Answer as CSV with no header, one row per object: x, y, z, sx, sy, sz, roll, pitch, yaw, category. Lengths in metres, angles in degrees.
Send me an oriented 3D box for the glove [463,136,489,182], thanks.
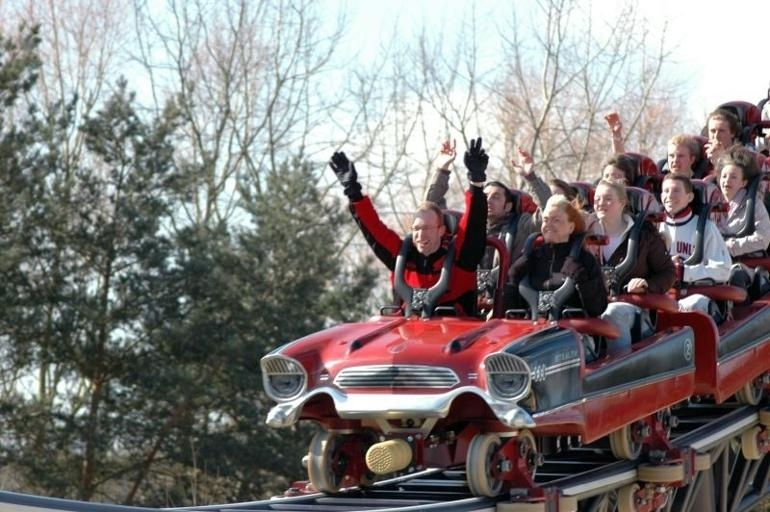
1.459,-1.464,26.835,0.409,0.693,0.415,-13,-3,-17,glove

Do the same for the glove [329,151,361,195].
-0.608,-1.295,27.334,0.411,0.734,0.440,-14,-3,-10,glove
